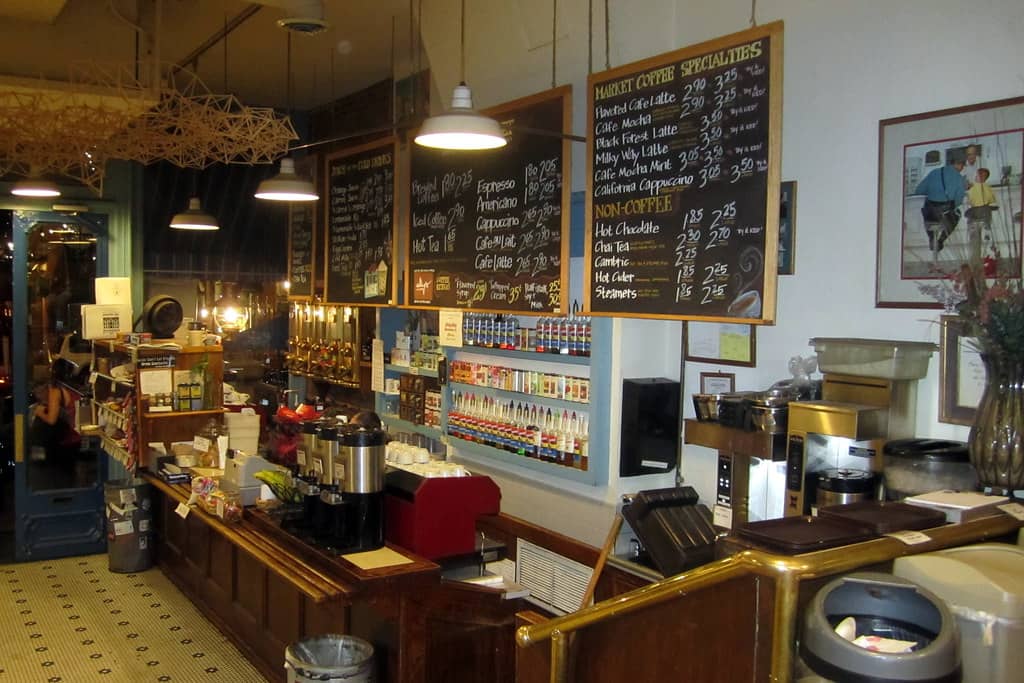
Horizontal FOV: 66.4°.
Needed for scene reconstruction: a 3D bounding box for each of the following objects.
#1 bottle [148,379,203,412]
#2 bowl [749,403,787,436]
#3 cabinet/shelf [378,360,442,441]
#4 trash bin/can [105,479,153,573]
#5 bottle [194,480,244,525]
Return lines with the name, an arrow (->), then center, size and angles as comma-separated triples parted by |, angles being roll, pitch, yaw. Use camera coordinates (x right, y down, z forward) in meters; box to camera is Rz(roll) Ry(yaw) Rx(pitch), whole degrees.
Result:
bottle -> -3.009, 0.504, 7.000 | 0.453, 0.249, 0.118 | -1, 3, -11
bowl -> 1.414, 0.429, 4.320 | 0.159, 0.115, 0.158 | 3, 1, 0
cabinet/shelf -> -0.954, 0.543, 7.454 | 0.290, 0.626, 1.129 | -2, 3, -31
trash bin/can -> -3.511, 1.697, 7.177 | 0.368, 0.860, 0.316 | -2, 3, -24
bottle -> -2.098, 1.141, 5.561 | 0.242, 0.100, 0.418 | 5, 6, -41
